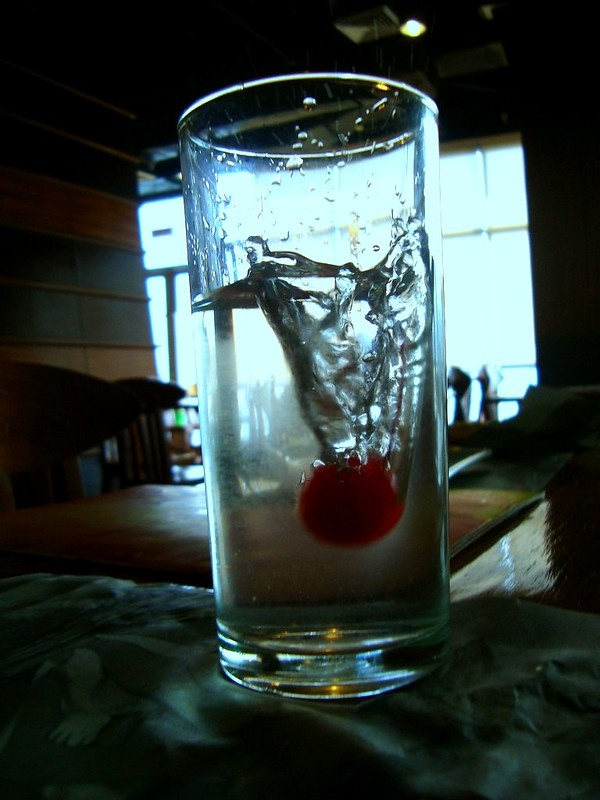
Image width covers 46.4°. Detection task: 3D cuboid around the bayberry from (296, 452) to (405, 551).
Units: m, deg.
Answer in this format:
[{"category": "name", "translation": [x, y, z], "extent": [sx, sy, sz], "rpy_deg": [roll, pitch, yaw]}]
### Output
[{"category": "bayberry", "translation": [0.017, 0.030, 0.196], "extent": [0.022, 0.026, 0.016], "rpy_deg": [13, 43, -11]}]
